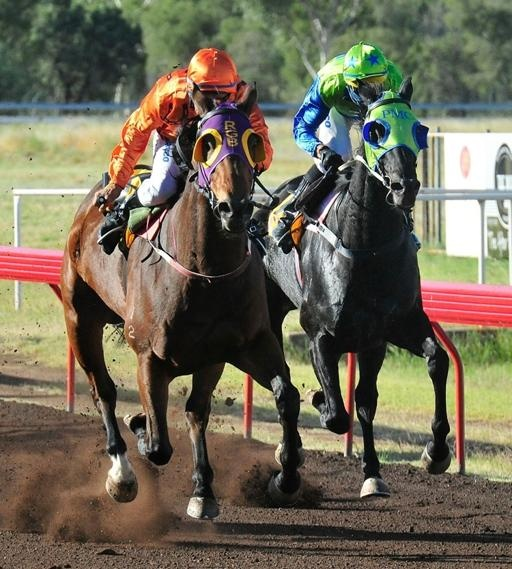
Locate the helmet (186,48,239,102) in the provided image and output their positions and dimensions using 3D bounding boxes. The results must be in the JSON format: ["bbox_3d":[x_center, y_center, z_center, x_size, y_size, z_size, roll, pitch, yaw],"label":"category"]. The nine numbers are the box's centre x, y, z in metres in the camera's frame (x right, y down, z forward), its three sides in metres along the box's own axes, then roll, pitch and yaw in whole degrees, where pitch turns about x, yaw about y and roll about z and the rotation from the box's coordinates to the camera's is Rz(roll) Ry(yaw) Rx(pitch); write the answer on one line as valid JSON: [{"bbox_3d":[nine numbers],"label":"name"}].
[{"bbox_3d":[-0.166,-0.798,4.171,0.185,0.169,0.291,-1,17,-15],"label":"helmet"}]

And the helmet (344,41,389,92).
[{"bbox_3d":[0.476,-0.955,4.934,0.204,0.216,0.332,-6,-7,4],"label":"helmet"}]

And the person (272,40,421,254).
[{"bbox_3d":[0.377,-0.597,5.248,0.428,0.684,1.139,-1,-24,-18],"label":"person"}]

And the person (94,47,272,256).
[{"bbox_3d":[-0.330,-0.493,4.525,0.545,0.688,0.974,2,-14,-26],"label":"person"}]

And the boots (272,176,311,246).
[{"bbox_3d":[0.137,-0.329,5.316,0.110,0.223,0.409,11,27,-10],"label":"boots"}]

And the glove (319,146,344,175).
[{"bbox_3d":[0.336,-0.569,4.992,0.090,0.052,0.130,30,-28,2],"label":"glove"}]

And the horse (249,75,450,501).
[{"bbox_3d":[0.552,0.087,5.180,0.517,1.798,2.297,4,7,11],"label":"horse"}]

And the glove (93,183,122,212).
[{"bbox_3d":[-0.618,-0.364,4.648,0.086,0.052,0.116,-28,-7,-33],"label":"glove"}]
